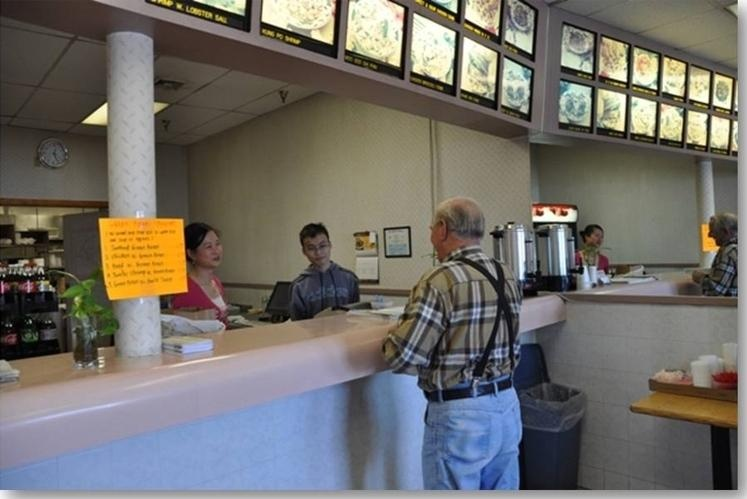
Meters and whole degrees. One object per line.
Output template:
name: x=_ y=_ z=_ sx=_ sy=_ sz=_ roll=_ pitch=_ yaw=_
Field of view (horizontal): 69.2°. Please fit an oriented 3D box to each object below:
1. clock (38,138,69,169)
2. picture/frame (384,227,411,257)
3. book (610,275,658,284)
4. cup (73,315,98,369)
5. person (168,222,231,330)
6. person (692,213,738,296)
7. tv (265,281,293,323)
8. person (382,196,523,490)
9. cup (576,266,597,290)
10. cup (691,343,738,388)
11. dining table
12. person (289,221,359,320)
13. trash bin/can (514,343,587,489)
clock: x=-4.428 y=-1.324 z=7.474 sx=0.094 sy=0.424 sz=0.430 roll=13 pitch=-2 yaw=18
picture/frame: x=0.267 y=-0.079 z=5.780 sx=0.425 sy=0.364 sz=0.055 roll=-2 pitch=-3 yaw=40
book: x=2.450 y=0.280 z=5.083 sx=0.375 sy=0.031 sz=0.420 roll=-1 pitch=4 yaw=24
cup: x=-1.340 y=0.431 z=2.518 sx=0.101 sy=0.231 sz=0.079 roll=-4 pitch=3 yaw=-25
person: x=-1.197 y=0.189 z=3.684 sx=0.366 sy=0.741 sz=0.955 roll=-3 pitch=3 yaw=-16
person: x=2.894 y=0.038 z=4.575 sx=0.319 sy=0.685 sz=0.855 roll=-1 pitch=4 yaw=32
tv: x=-1.059 y=0.575 z=5.935 sx=0.348 sy=0.397 sz=0.196 roll=6 pitch=-3 yaw=-42
person: x=0.428 y=0.538 z=2.941 sx=0.723 sy=1.626 sz=0.349 roll=-2 pitch=3 yaw=7
cup: x=1.805 y=0.233 z=4.537 sx=0.154 sy=0.216 sz=0.230 roll=4 pitch=6 yaw=44
cup: x=2.171 y=0.735 z=3.430 sx=0.270 sy=0.246 sz=0.193 roll=-1 pitch=3 yaw=21
dining table: x=1.967 y=1.240 z=3.416 sx=0.630 sy=0.595 sz=0.629 roll=0 pitch=0 yaw=28
person: x=-0.408 y=0.318 z=4.401 sx=0.569 sy=0.990 sz=0.291 roll=-6 pitch=-33 yaw=-9
trash bin/can: x=1.327 y=1.300 z=4.068 sx=0.483 sy=1.084 sz=0.519 roll=-1 pitch=3 yaw=28
